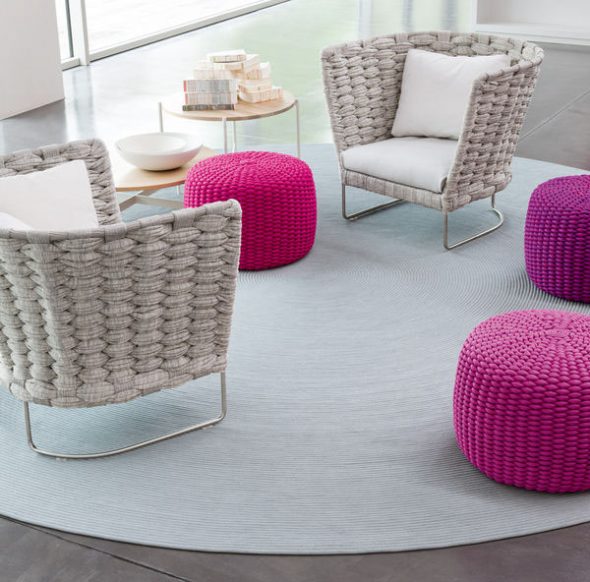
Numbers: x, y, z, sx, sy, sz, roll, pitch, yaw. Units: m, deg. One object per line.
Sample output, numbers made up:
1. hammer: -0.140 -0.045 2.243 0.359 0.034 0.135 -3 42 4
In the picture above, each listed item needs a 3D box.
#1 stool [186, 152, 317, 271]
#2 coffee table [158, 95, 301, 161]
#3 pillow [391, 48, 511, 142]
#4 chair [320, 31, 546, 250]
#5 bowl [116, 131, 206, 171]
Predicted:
1. stool: -0.189 -0.389 3.410 0.851 0.388 0.613 -3 27 -4
2. coffee table: -0.392 -1.050 4.199 0.940 0.382 0.689 -2 22 -4
3. pillow: 0.758 -1.051 3.575 0.774 0.493 0.244 11 4 44
4. chair: 0.844 -0.848 3.613 0.863 0.756 0.965 -27 41 -27
5. bowl: -0.727 -0.755 3.594 0.363 0.077 0.353 0 23 0
